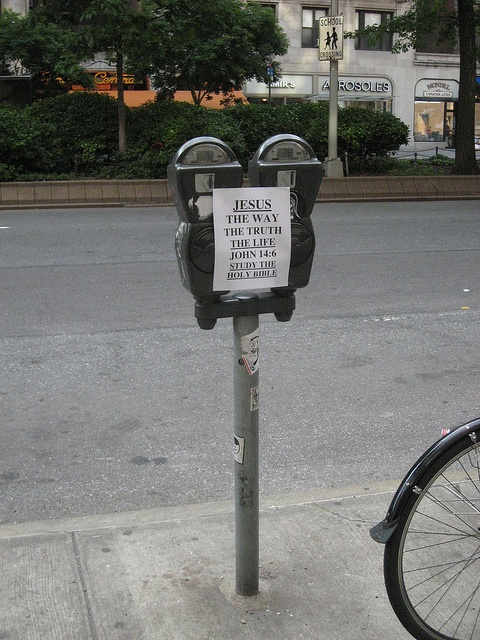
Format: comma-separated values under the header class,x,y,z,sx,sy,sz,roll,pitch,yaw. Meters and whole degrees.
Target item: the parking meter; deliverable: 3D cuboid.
class,x,y,z,sx,sy,sz,roll,pitch,yaw
parking meter,0.042,0.154,2.842,0.494,1.489,0.271,-4,11,-11
